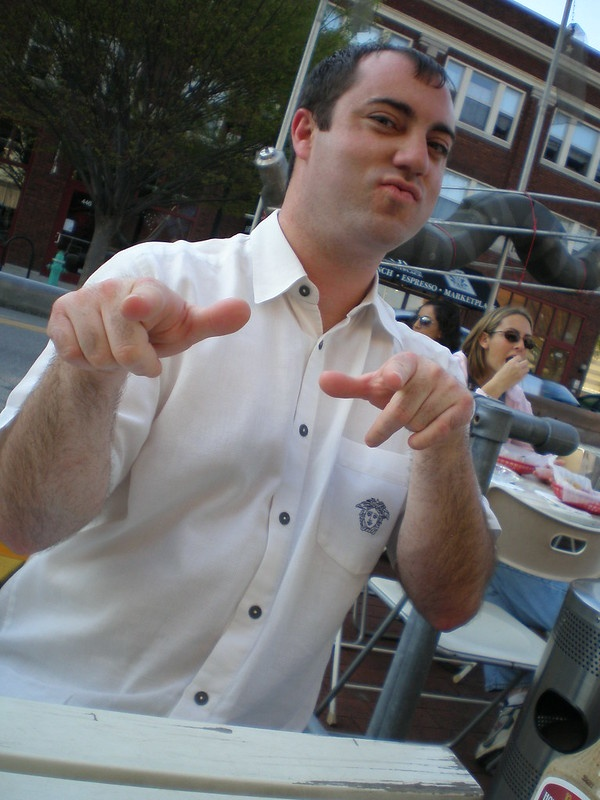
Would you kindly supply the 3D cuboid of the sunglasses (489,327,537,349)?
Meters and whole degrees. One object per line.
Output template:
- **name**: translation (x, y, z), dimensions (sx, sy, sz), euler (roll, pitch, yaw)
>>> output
- **sunglasses**: translation (1.189, -0.358, 3.774), dimensions (0.153, 0.046, 0.151), euler (17, -3, -22)
